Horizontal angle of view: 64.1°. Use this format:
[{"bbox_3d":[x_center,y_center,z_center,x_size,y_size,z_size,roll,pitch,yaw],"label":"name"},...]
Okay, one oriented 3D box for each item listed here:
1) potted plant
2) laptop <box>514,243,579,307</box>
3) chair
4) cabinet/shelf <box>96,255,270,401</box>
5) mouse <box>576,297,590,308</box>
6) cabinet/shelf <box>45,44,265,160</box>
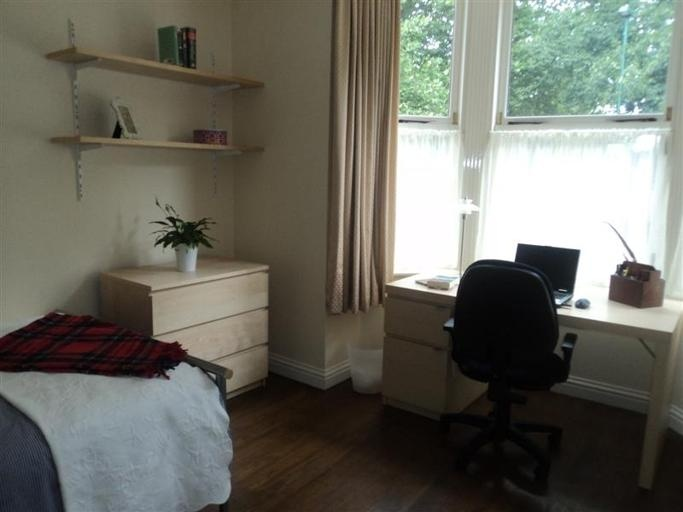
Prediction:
[{"bbox_3d":[-1.003,-0.120,3.495,0.455,0.441,0.404,-7,8,-41],"label":"potted plant"},{"bbox_3d":[1.266,0.046,3.364,0.417,0.312,0.383,8,13,40],"label":"laptop"},{"bbox_3d":[0.884,0.582,2.966,0.674,1.169,0.474,8,17,23],"label":"chair"},{"bbox_3d":[-1.009,0.525,3.657,0.676,0.892,0.978,6,11,43],"label":"cabinet/shelf"},{"bbox_3d":[1.356,0.266,3.074,0.055,0.017,0.061,8,34,46],"label":"mouse"},{"bbox_3d":[-1.138,-0.948,3.605,0.324,0.544,1.436,10,12,34],"label":"cabinet/shelf"}]
